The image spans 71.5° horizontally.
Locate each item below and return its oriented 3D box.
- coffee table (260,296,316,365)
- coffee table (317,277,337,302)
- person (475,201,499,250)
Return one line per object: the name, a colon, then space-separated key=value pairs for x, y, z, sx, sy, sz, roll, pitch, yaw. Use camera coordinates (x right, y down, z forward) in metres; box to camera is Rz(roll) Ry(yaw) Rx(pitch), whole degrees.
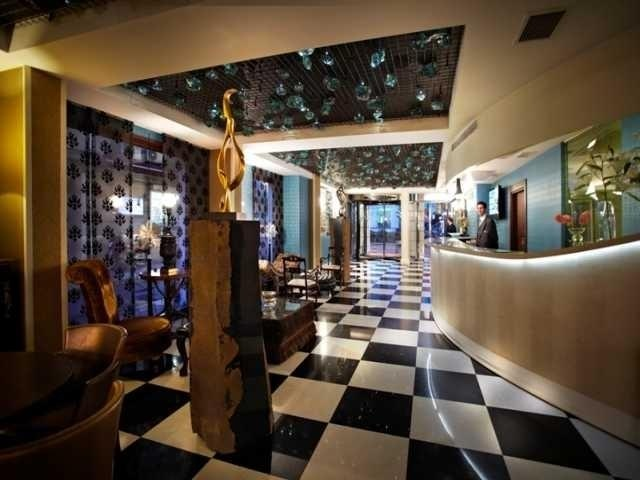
coffee table: x=-0.402 y=1.115 z=5.529 sx=0.589 sy=0.440 sz=0.826 roll=-1 pitch=1 yaw=16
coffee table: x=0.142 y=0.935 z=8.468 sx=0.320 sy=0.264 sz=0.345 roll=-2 pitch=5 yaw=-3
person: x=2.826 y=-0.254 z=7.591 sx=0.301 sy=0.862 sz=0.790 roll=-2 pitch=-1 yaw=19
